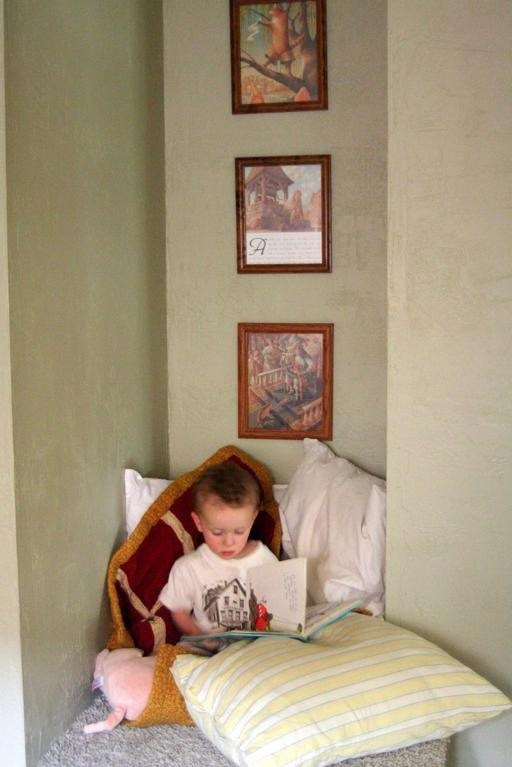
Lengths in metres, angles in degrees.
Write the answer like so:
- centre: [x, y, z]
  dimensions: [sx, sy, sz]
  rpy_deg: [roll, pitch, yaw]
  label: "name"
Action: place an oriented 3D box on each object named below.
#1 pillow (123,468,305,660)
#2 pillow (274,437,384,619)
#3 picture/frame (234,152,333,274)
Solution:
- centre: [-0.087, 0.364, 1.501]
  dimensions: [0.290, 0.434, 0.343]
  rpy_deg: [-1, -4, -5]
  label: "pillow"
- centre: [0.165, 0.337, 1.664]
  dimensions: [0.084, 0.310, 0.265]
  rpy_deg: [2, -34, -8]
  label: "pillow"
- centre: [0.093, -0.493, 1.953]
  dimensions: [0.305, 0.412, 0.017]
  rpy_deg: [0, 4, 6]
  label: "picture/frame"
